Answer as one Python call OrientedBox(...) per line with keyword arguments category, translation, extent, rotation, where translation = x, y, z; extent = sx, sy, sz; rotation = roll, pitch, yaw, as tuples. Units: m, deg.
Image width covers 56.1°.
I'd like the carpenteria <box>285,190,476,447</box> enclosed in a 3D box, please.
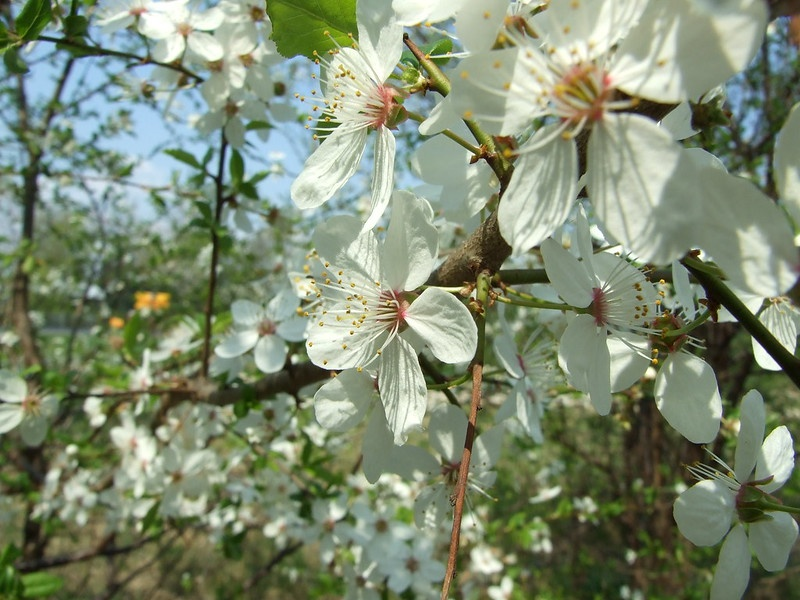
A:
OrientedBox(category="carpenteria", translation=(-0.086, 0.076, 2.580), extent=(0.667, 0.748, 0.365), rotation=(-25, -36, 35))
